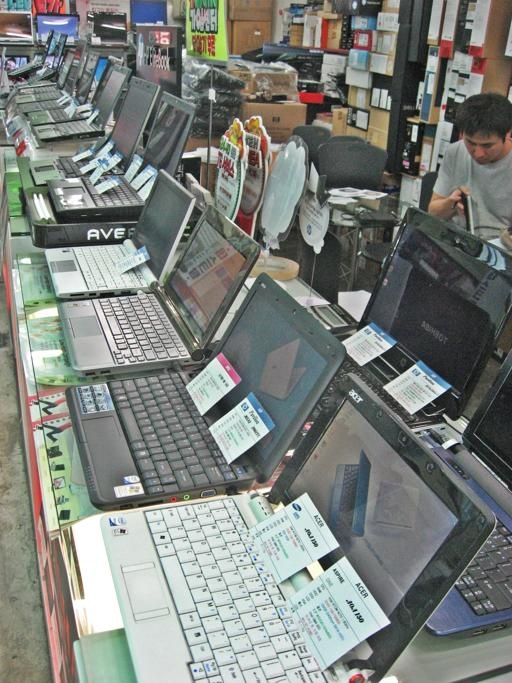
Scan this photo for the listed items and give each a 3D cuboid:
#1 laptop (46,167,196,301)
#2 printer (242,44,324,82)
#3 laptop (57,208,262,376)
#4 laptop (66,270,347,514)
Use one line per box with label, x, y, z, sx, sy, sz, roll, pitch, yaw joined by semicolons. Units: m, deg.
laptop;-0.382;-0.287;1.625;0.493;0.338;0.484;-9;42;-16
printer;0.521;-3.870;6.969;1.328;0.365;0.930;-9;30;-28
laptop;-0.232;-0.081;1.300;0.335;0.481;0.488;23;21;-29
laptop;-0.100;0.124;0.933;0.455;0.295;0.427;-1;36;-25
